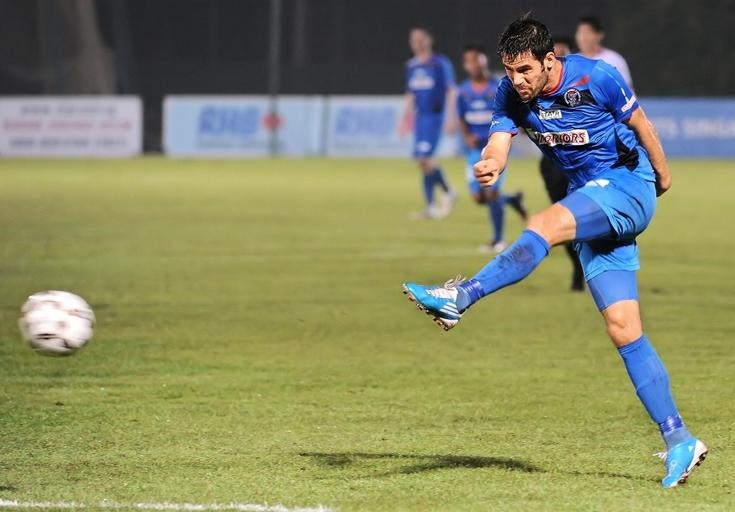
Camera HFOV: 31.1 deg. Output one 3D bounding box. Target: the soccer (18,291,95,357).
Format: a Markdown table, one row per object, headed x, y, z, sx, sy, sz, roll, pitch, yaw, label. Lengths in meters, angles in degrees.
| x | y | z | sx | sy | sz | roll | pitch | yaw | label |
| --- | --- | --- | --- | --- | --- | --- | --- | --- | --- |
| -2.217 | 0.477 | 9.346 | 0.620 | 0.412 | 0.528 | -3 | 40 | -24 | soccer |

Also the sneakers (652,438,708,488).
| x | y | z | sx | sy | sz | roll | pitch | yaw | label |
| --- | --- | --- | --- | --- | --- | --- | --- | --- | --- |
| 2.015 | 1.334 | 8.458 | 0.294 | 0.317 | 0.198 | -2 | 0 | 4 | sneakers |
